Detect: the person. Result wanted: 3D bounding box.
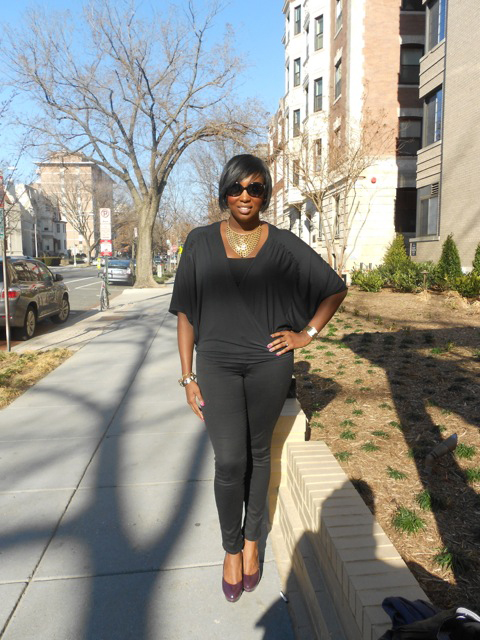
[{"bbox_3d":[0.068,0.281,1.826,0.676,2.023,0.409,-5,5,-22],"label":"person"}]

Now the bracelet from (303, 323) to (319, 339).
[{"bbox_3d":[0.307,0.067,1.848,0.073,0.051,0.070,27,-14,-12],"label":"bracelet"}]

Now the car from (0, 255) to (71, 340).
[{"bbox_3d":[-5.184,-0.643,10.532,1.147,1.216,2.532,2,14,-2],"label":"car"}]

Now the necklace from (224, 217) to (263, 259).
[{"bbox_3d":[0.012,-0.337,1.732,0.161,0.164,0.136,-3,5,4],"label":"necklace"}]
